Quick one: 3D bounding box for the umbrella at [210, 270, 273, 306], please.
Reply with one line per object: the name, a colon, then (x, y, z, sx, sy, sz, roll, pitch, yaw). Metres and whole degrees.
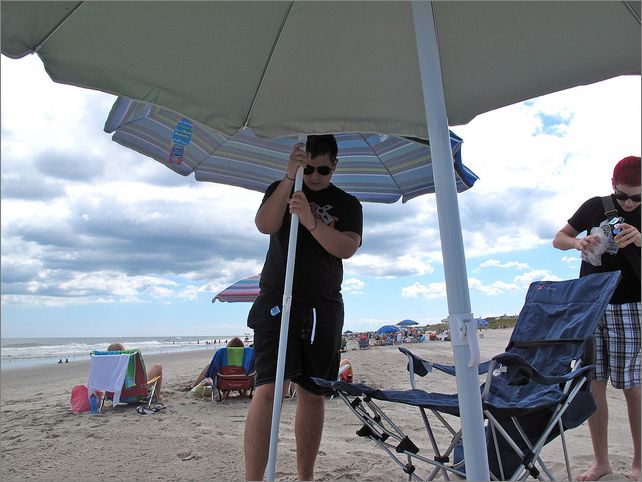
umbrella: (-2.231, 1.384, 11.587, 1.897, 0.743, 1.962, -4, -3, 4)

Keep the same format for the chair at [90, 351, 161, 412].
chair: (-3.279, 2.385, 7.206, 1.007, 0.932, 1.312, -1, -17, -1)

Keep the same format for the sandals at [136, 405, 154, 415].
sandals: (-2.726, 2.587, 6.489, 0.191, 0.072, 0.149, 5, -9, 45)

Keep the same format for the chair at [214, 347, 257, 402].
chair: (-1.590, 2.383, 7.710, 0.726, 0.900, 1.013, 3, -14, -18)
